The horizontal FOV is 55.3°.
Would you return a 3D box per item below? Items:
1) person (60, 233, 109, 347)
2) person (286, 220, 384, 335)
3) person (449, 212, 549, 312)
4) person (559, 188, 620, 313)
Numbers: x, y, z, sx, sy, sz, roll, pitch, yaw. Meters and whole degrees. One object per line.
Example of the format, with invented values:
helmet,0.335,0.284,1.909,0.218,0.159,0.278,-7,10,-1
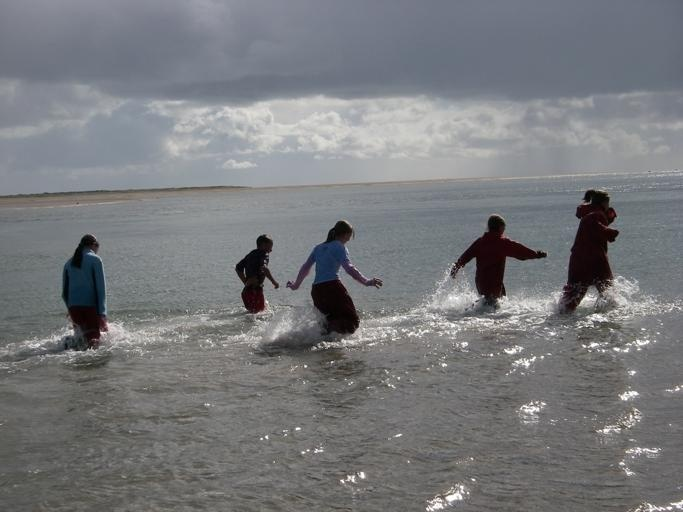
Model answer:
person,-4.776,0.634,12.227,0.720,1.999,0.720,-8,14,-22
person,-0.057,0.409,12.154,1.388,2.161,0.587,1,13,12
person,3.246,0.097,13.884,1.590,1.856,0.492,0,13,8
person,5.271,-0.077,13.823,1.007,2.490,1.424,3,14,23
